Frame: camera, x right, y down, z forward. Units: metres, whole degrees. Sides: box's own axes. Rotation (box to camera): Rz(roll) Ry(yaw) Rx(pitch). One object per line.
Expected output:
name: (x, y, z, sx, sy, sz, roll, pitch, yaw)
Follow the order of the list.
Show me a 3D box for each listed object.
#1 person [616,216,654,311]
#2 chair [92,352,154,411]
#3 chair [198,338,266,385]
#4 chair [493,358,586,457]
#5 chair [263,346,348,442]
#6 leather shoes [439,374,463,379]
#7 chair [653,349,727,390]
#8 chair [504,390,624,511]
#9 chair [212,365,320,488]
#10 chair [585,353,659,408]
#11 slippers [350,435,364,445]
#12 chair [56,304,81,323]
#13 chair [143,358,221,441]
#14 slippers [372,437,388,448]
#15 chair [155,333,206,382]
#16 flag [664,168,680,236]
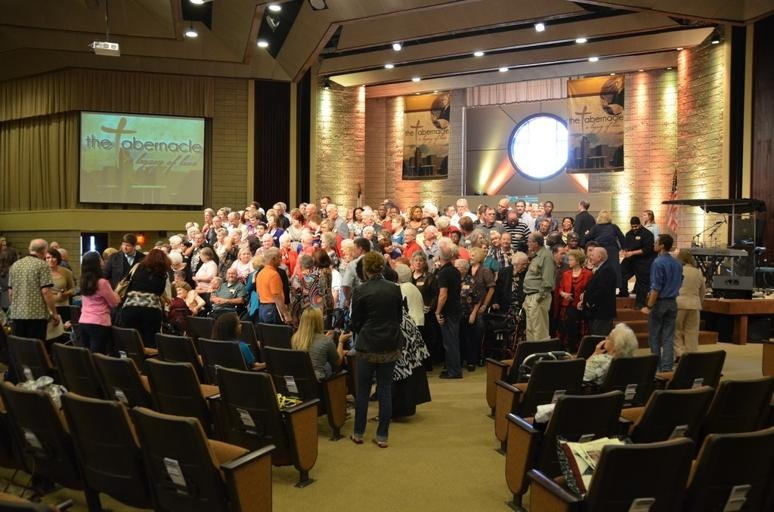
person: (4.652, 0.107, 11.493, 0.650, 1.763, 0.769, -8, 15, -28)
chair: (-2.737, 1.287, 6.546, 0.500, 0.704, 0.634, 1, 4, 20)
chair: (-1.762, 1.220, 6.912, 0.554, 0.726, 0.548, 0, 2, 25)
chair: (1.605, 1.601, 6.485, 0.898, 1.037, 0.935, 15, -17, -41)
chair: (-0.902, 1.547, 6.906, 0.749, 1.034, 0.818, -5, -4, 33)
leather shoes: (0.932, 1.737, 8.917, 0.304, 0.113, 0.111, -3, -7, 21)
chair: (3.344, 1.192, 6.764, 0.545, 0.719, 0.529, -1, 5, -12)
chair: (1.779, 1.730, 5.923, 0.987, 1.286, 1.174, 2, -2, -18)
chair: (-1.164, 1.705, 6.195, 0.891, 1.148, 1.001, 1, 0, 16)
chair: (2.539, 1.261, 6.601, 0.621, 0.759, 0.601, -1, 8, -11)
slippers: (-0.338, 2.015, 6.758, 0.157, 0.111, 0.134, 5, 14, 5)
chair: (-4.768, 0.845, 9.073, 0.293, 0.371, 0.328, 3, 2, 36)
chair: (-2.082, 1.377, 6.183, 0.659, 0.870, 0.782, 1, 5, 10)
slippers: (-0.054, 2.052, 6.683, 0.077, 0.046, 0.154, 1, -2, -36)
chair: (-2.504, 1.190, 7.345, 0.515, 0.717, 0.532, 3, 5, 20)
flag: (7.269, -1.407, 15.358, 0.298, 1.633, 1.339, 8, 15, 20)
